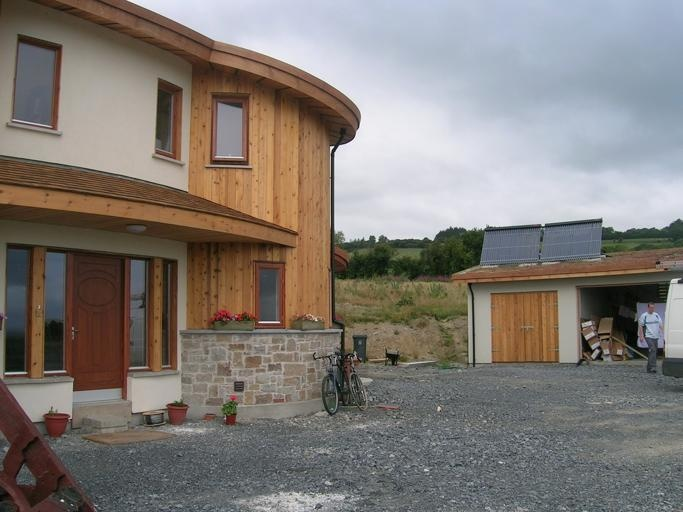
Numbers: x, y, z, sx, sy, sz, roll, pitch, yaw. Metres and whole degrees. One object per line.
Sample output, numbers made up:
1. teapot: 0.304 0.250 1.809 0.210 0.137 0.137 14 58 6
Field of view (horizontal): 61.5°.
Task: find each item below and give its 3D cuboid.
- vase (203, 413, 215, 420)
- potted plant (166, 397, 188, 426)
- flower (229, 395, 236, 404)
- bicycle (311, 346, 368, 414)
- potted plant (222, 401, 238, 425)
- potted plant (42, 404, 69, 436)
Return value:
1. vase: -2.791 3.407 12.189 0.231 0.130 0.165 -2 -5 -4
2. potted plant: -3.396 3.242 11.954 0.381 0.334 0.413 3 -4 -13
3. flower: -2.208 2.976 11.866 0.152 0.188 0.168 0 -2 -2
4. bicycle: -0.003 2.866 13.281 0.718 1.336 1.916 -11 -20 23
5. potted plant: -2.285 3.200 11.778 0.283 0.485 0.303 0 -5 -18
6. potted plant: -5.142 2.985 10.418 0.398 0.410 0.431 2 -7 -12
